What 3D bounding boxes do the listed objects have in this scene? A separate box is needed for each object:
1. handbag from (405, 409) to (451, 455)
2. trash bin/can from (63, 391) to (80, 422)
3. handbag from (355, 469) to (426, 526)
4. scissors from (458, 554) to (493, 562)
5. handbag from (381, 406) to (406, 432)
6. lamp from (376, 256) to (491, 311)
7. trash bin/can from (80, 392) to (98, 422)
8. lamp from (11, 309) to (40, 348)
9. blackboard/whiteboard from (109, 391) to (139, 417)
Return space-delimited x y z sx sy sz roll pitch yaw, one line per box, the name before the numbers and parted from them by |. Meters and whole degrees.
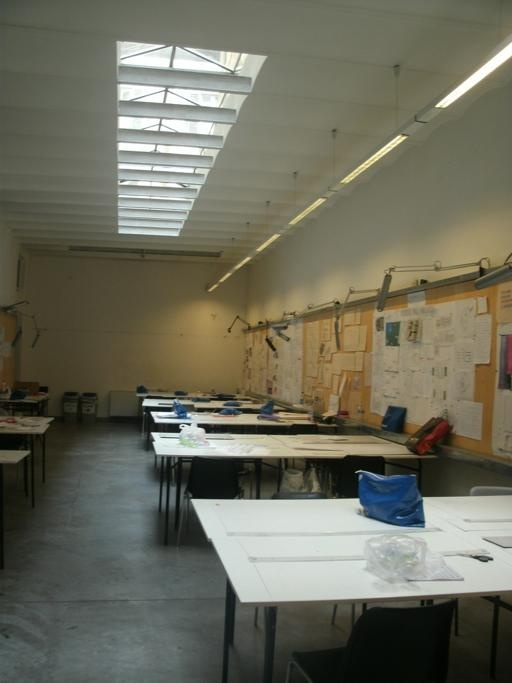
handbag | 1.492 0.811 4.547 0.368 0.122 0.273 -42 17 9
trash bin/can | -4.176 1.481 11.973 0.354 0.586 0.182 1 -1 -18
handbag | 0.631 0.669 2.503 0.352 0.267 0.193 -7 -17 35
scissors | 0.821 0.805 1.971 0.072 0.012 0.042 0 -1 1
handbag | 1.412 0.804 5.397 0.094 0.256 0.266 12 5 -17
lamp | 1.472 -0.559 4.843 0.633 0.495 1.897 1 -1 -2
trash bin/can | -3.784 1.486 11.924 0.436 0.625 0.519 1 -3 -11
lamp | -5.026 -0.285 11.882 0.194 0.769 0.565 1 3 42
blackboard/whiteboard | -3.097 1.507 12.249 0.644 0.624 0.154 5 1 -4
